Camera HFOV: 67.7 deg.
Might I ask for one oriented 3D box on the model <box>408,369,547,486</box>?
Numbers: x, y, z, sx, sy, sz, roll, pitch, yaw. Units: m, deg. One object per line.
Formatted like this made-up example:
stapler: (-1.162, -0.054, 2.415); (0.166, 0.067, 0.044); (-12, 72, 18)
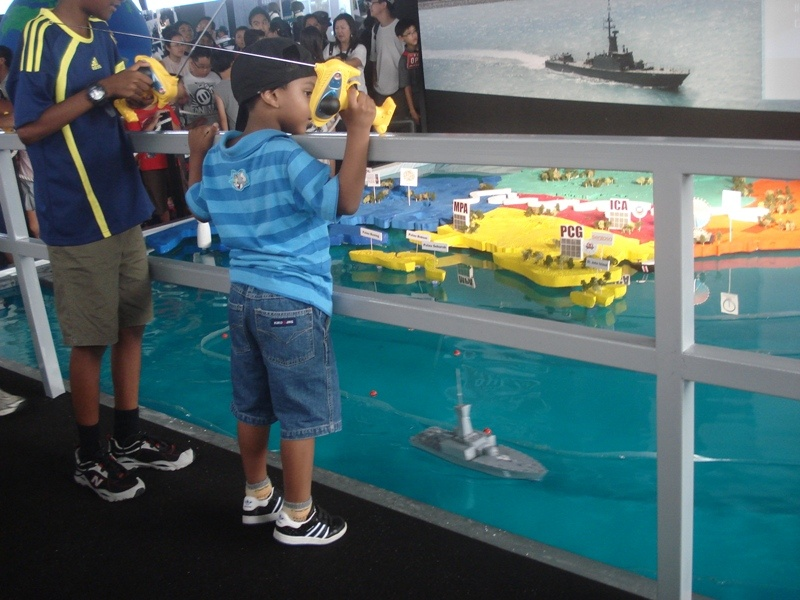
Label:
model: (0.321, 0.470, 2.552); (0.754, 0.425, 0.224); (15, 44, 41)

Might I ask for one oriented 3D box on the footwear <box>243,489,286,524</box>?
footwear: (-0.378, 0.593, 1.772); (0.064, 0.072, 0.170); (2, 6, 26)

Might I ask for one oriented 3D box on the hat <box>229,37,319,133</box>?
hat: (-0.287, -0.548, 1.504); (0.215, 0.197, 0.148); (16, 17, -7)

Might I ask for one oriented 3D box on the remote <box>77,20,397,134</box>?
remote: (-0.390, -0.537, 1.531); (0.794, 0.210, 0.197); (10, 20, 31)

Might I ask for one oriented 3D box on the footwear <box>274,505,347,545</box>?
footwear: (-0.244, 0.621, 1.659); (0.208, 0.091, 0.087); (1, 5, -16)

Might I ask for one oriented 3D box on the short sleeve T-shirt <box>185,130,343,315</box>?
short sleeve T-shirt: (-0.306, -0.192, 1.486); (0.441, 0.449, 0.179); (11, 21, 32)
